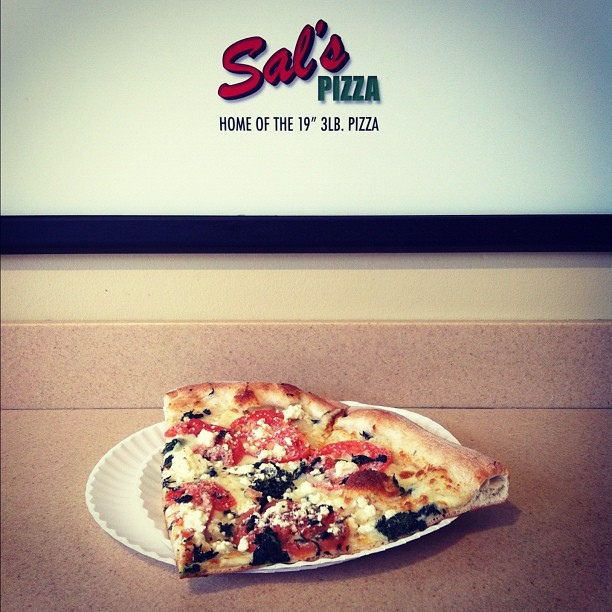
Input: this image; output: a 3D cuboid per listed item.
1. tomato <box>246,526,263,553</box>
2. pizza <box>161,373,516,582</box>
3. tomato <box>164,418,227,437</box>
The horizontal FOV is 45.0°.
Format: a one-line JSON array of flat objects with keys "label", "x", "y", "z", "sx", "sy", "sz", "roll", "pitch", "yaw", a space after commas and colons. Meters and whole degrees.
[{"label": "tomato", "x": -0.068, "y": 0.313, "z": 0.993, "sx": 0.019, "sy": 0.020, "sz": 0.037, "roll": 0, "pitch": 11, "yaw": 3}, {"label": "pizza", "x": 0.017, "y": 0.239, "z": 1.186, "sx": 0.493, "sy": 0.128, "sz": 0.467, "roll": -3, "pitch": 11, "yaw": -15}, {"label": "tomato", "x": -0.188, "y": 0.203, "z": 1.225, "sx": 0.060, "sy": 0.011, "sz": 0.034, "roll": -4, "pitch": 28, "yaw": -35}]
